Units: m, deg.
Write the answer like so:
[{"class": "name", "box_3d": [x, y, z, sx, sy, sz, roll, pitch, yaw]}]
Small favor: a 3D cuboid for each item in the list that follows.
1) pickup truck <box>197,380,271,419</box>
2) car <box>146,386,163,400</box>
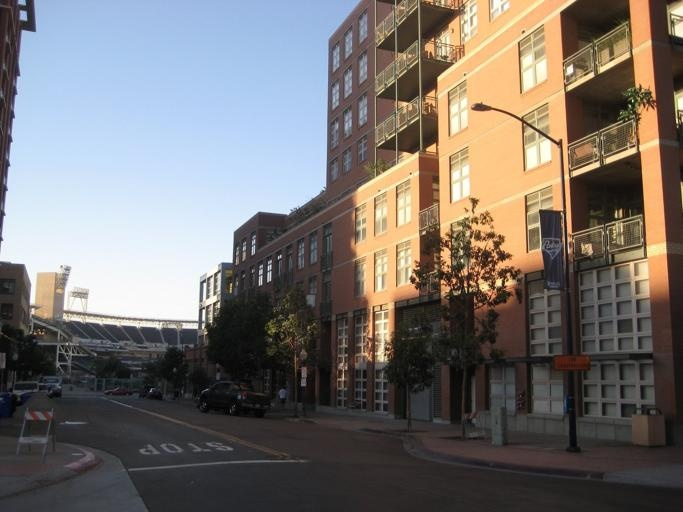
[{"class": "pickup truck", "box_3d": [-7.081, 9.338, 42.789, 1.461, 2.351, 5.371, 15, -22, -43]}, {"class": "car", "box_3d": [-24.754, 18.202, 86.521, 1.813, 1.265, 1.637, 13, -21, -36]}]
